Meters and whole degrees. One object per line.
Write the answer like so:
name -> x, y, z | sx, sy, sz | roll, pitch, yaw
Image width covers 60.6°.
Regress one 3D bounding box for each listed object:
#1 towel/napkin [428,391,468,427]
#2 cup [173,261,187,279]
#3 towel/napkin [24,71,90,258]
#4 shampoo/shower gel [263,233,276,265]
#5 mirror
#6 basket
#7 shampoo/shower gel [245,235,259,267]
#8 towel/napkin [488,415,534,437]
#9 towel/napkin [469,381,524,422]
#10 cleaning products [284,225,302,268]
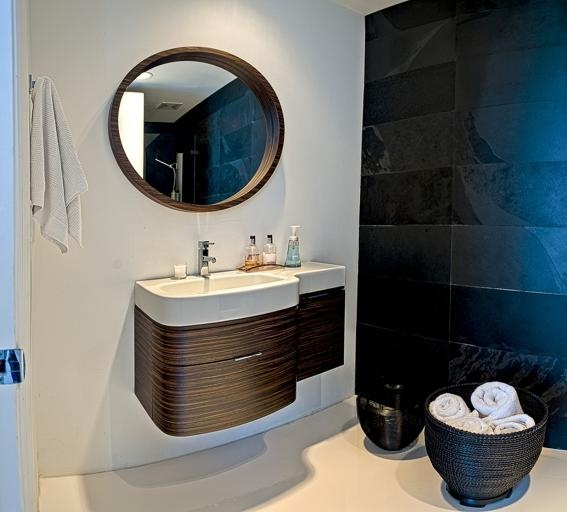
towel/napkin -> 0.713, 0.647, 2.082 | 0.118, 0.047, 0.101 | -18, 10, -36
cup -> -0.456, 0.063, 2.138 | 0.067, 0.076, 0.051 | 1, -3, -19
towel/napkin -> -0.698, -0.276, 1.497 | 0.163, 0.540, 0.206 | -5, 10, -28
shampoo/shower gel -> -0.073, -0.037, 2.481 | 0.069, 0.151, 0.104 | -1, 9, -5
mirror -> -0.369, -0.575, 2.214 | 0.715, 0.748, 0.153 | 2, 0, -39
basket -> 0.858, 0.756, 2.049 | 0.369, 0.380, 0.442 | -2, -4, 36
shampoo/shower gel -> -0.157, -0.026, 2.406 | 0.065, 0.148, 0.119 | 0, 9, -2
towel/napkin -> 0.923, 0.655, 1.950 | 0.091, 0.053, 0.128 | -2, -4, -36
towel/napkin -> 0.929, 0.656, 2.090 | 0.165, 0.154, 0.179 | -19, 13, 17
cleaning products -> 0.051, -0.054, 2.536 | 0.096, 0.211, 0.218 | 0, 9, 1
